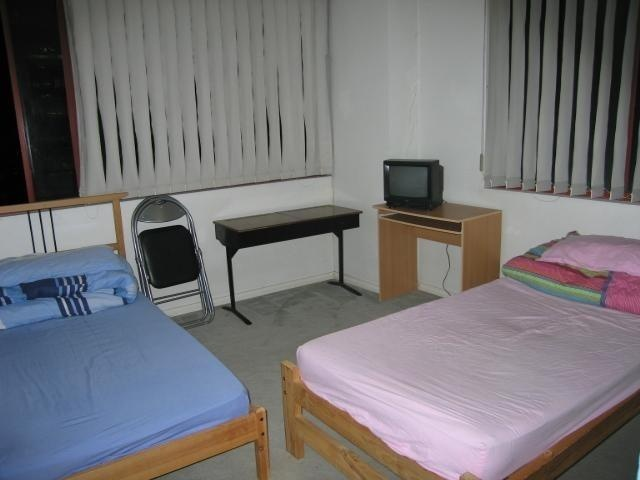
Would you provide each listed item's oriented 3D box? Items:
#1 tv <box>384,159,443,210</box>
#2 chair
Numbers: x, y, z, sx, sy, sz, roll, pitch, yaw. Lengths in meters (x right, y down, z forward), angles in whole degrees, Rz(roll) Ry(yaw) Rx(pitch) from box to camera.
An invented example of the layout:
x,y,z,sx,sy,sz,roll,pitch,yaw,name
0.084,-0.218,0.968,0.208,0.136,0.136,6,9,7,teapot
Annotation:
x,y,z,sx,sy,sz,roll,pitch,yaw,name
0.788,-0.518,4.214,0.482,0.493,0.466,8,15,39,tv
-1.296,0.176,3.965,0.617,1.122,0.817,-17,41,-31,chair
